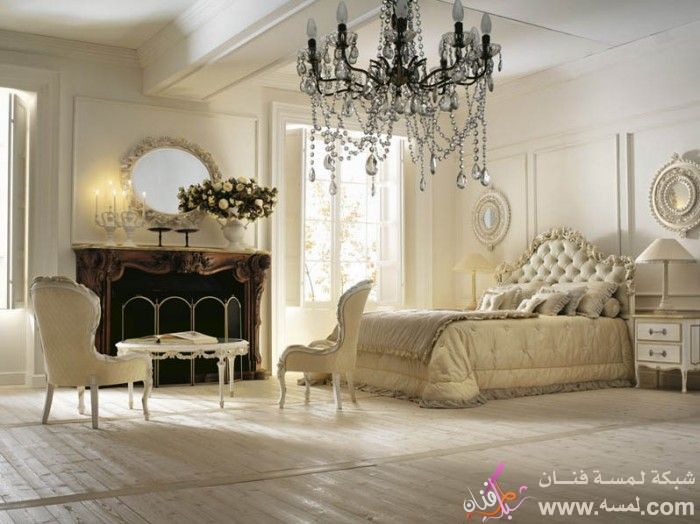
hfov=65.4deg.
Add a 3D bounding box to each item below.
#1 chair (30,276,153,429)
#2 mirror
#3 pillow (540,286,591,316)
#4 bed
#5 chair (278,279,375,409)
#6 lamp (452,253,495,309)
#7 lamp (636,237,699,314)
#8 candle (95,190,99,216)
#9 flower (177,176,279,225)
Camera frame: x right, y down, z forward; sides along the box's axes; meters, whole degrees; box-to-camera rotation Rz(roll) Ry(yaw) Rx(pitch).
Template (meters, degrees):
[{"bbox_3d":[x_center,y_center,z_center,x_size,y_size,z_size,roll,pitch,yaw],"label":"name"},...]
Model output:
[{"bbox_3d":[-2.204,0.741,4.584,0.730,1.182,0.787,0,-3,17],"label":"chair"},{"bbox_3d":[-2.326,-1.010,6.941,1.229,1.212,0.089,2,-4,-34],"label":"mirror"},{"bbox_3d":[2.622,0.496,6.548,0.362,0.108,0.364,-12,34,36],"label":"pillow"},{"bbox_3d":[1.618,0.895,6.295,2.525,1.606,2.459,0,-2,-28],"label":"bed"},{"bbox_3d":[-0.234,0.796,5.116,0.872,1.133,0.784,-3,-5,32],"label":"chair"},{"bbox_3d":[2.003,0.289,8.178,0.780,0.987,0.757,0,-1,-11],"label":"lamp"},{"bbox_3d":[3.519,0.131,6.063,0.568,0.863,0.549,-2,-3,30],"label":"lamp"},{"bbox_3d":[-3.087,-0.732,6.667,0.046,0.308,0.018,1,-2,-37],"label":"candle"},{"bbox_3d":[-1.531,-0.806,6.974,0.743,0.430,0.762,-1,1,-10],"label":"flower"}]
